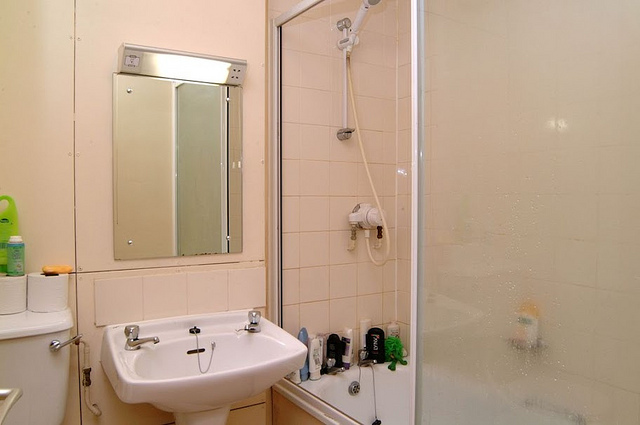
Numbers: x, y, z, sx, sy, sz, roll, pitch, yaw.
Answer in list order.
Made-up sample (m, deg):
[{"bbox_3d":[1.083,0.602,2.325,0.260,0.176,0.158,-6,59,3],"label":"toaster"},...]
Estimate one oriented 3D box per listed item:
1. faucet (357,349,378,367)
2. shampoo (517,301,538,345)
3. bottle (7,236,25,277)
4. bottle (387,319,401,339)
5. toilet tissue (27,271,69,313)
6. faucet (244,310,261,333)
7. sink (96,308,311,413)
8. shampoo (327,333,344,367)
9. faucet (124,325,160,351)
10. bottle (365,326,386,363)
[{"bbox_3d":[0.232,0.752,2.484,0.069,0.045,0.084,2,1,-18],"label":"faucet"},{"bbox_3d":[0.693,0.368,1.609,0.060,0.139,0.019,0,5,28],"label":"shampoo"},{"bbox_3d":[-1.319,0.192,2.097,0.072,0.177,0.059,-6,5,-38],"label":"bottle"},{"bbox_3d":[0.378,0.589,2.446,0.075,0.085,0.022,0,5,32],"label":"bottle"},{"bbox_3d":[-1.187,0.353,2.105,0.153,0.176,0.158,2,4,-11],"label":"toilet tissue"},{"bbox_3d":[-0.318,0.529,2.337,0.069,0.100,0.096,0,-5,13],"label":"faucet"},{"bbox_3d":[-0.534,0.678,2.175,0.794,0.379,0.659,-5,4,-29],"label":"sink"},{"bbox_3d":[0.081,0.716,2.506,0.083,0.157,0.053,-2,4,1],"label":"shampoo"},{"bbox_3d":[-0.777,0.557,2.152,0.156,0.106,0.078,-1,0,-9],"label":"faucet"},{"bbox_3d":[0.288,0.680,2.462,0.147,0.212,0.022,-11,-22,38],"label":"bottle"}]
